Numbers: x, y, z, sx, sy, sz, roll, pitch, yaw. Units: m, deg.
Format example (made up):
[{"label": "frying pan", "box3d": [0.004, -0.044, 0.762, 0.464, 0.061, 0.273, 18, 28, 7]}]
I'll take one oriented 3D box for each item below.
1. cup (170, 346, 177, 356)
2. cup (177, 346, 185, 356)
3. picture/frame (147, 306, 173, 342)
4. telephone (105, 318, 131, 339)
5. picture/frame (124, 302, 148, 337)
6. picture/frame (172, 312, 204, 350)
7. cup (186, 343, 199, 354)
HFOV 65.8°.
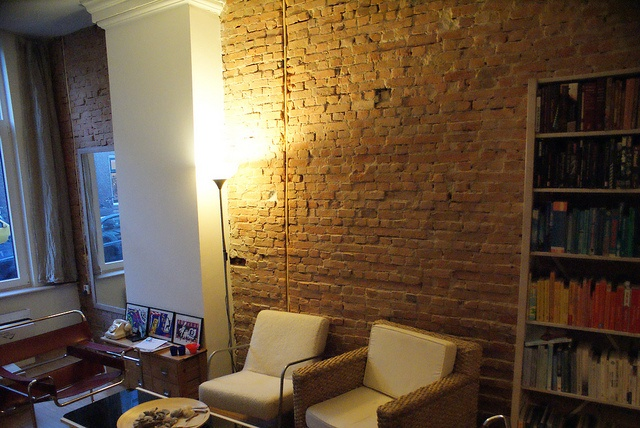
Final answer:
[{"label": "cup", "box3d": [-1.642, 1.528, 5.509, 0.076, 0.078, 0.085, 2, -8, -17]}, {"label": "cup", "box3d": [-1.542, 1.523, 5.526, 0.084, 0.086, 0.080, -1, 9, 0]}, {"label": "picture/frame", "box3d": [-1.895, 1.316, 5.879, 0.419, 0.325, 0.028, 3, -5, 31]}, {"label": "telephone", "box3d": [-2.455, 1.382, 5.996, 0.237, 0.156, 0.236, -4, -7, 37]}, {"label": "picture/frame", "box3d": [-2.247, 1.296, 6.043, 0.426, 0.372, 0.154, -3, -2, 37]}, {"label": "picture/frame", "box3d": [-1.504, 1.348, 5.686, 0.458, 0.355, 0.018, -1, -8, 31]}, {"label": "cup", "box3d": [-1.437, 1.507, 5.552, 0.100, 0.067, 0.104, -4, 3, 0]}]
